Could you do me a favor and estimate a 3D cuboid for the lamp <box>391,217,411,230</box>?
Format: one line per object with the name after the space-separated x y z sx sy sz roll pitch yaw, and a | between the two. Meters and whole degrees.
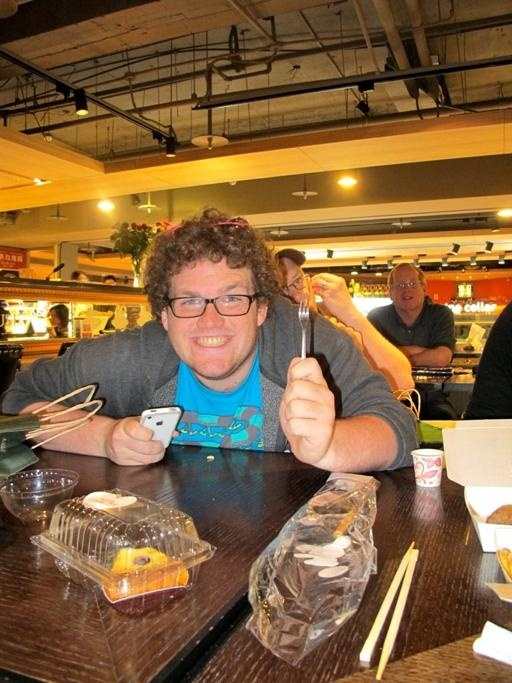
2.763 -2.243 9.593 0.286 0.060 0.251 1 -8 -10 | lamp

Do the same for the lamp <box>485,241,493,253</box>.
4.759 -1.954 10.314 0.178 0.160 0.308 9 3 20 | lamp

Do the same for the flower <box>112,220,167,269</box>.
-1.281 -0.988 5.401 0.521 0.489 0.488 -9 -4 -6 | flower

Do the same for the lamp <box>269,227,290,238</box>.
0.472 -2.213 10.280 0.244 0.149 0.231 -2 -1 2 | lamp

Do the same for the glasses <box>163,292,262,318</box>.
-0.117 -0.103 1.479 0.277 0.077 0.132 1 2 -9 | glasses

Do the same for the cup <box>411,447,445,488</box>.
0.360 0.267 1.085 0.077 0.060 0.075 1 1 0 | cup

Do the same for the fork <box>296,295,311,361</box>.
0.113 -0.039 1.233 0.032 0.265 0.031 0 9 16 | fork

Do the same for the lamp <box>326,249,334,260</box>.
1.616 -1.932 11.093 0.178 0.152 0.044 0 17 -25 | lamp
